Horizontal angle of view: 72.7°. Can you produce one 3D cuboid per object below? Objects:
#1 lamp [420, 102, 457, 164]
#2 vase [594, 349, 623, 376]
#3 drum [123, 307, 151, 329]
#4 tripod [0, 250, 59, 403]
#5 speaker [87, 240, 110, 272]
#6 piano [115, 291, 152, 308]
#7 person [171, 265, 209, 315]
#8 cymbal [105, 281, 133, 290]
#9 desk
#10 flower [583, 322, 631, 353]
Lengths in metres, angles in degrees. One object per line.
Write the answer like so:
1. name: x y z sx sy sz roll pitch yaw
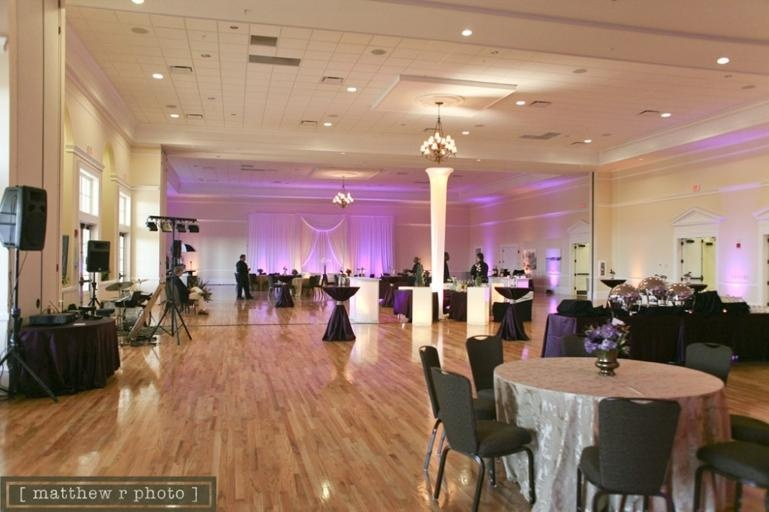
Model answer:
1. lamp: 1.243 -2.818 12.110 0.806 1.423 0.788 -10 18 -34
2. vase: 2.171 1.043 5.139 0.255 0.214 0.246 -1 -3 7
3. drum: -5.855 1.423 12.037 0.393 0.415 0.996 -1 4 -26
4. tripod: -4.650 0.893 6.779 0.684 1.978 0.507 4 5 35
5. speaker: -5.173 0.064 9.509 0.373 0.589 0.320 1 -18 -16
6. piano: -5.276 0.938 10.971 0.553 0.345 0.748 1 4 -3
7. person: -5.777 1.044 14.919 0.805 1.475 0.818 -1 6 -45
8. cymbal: -5.521 0.629 10.794 0.341 0.126 0.345 -1 0 32
9. desk: -4.365 1.390 7.352 0.917 0.572 0.928 0 0 -11
10. flower: 2.156 0.780 5.137 0.375 0.380 0.377 -1 4 45
